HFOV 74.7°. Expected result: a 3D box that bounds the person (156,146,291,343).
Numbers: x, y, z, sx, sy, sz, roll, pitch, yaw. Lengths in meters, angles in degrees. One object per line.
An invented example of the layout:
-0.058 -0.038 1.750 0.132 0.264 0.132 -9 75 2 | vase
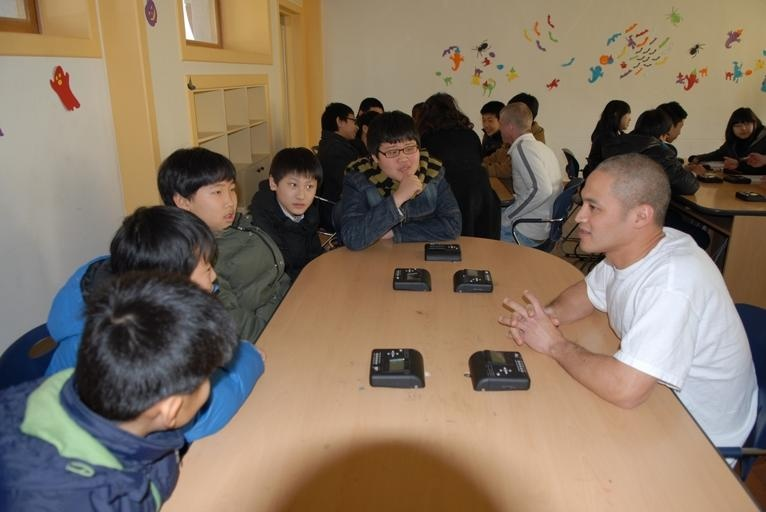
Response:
-0.623 -0.086 2.143 0.448 0.781 0.515 -5 35 -6 | person
